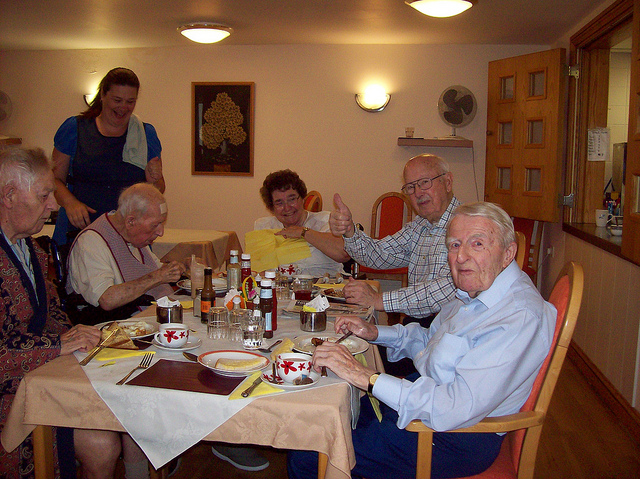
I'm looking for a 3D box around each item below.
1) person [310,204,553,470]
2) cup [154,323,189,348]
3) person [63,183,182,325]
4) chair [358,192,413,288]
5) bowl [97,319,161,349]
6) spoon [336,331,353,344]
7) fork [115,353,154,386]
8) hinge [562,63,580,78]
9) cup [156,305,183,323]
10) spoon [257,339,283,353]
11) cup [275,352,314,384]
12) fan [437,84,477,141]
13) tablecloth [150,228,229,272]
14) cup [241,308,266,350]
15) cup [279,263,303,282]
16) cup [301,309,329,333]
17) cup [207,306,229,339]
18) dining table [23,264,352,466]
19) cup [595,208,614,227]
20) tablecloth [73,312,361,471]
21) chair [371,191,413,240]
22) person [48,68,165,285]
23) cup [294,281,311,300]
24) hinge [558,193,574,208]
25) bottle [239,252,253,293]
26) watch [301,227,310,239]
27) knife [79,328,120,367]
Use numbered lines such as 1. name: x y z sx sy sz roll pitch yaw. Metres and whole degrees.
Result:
1. person: 0.477 0.298 2.258 0.971 1.373 0.857 6 17 17
2. cup: -0.584 0.359 1.916 0.097 0.079 0.083 -1 5 -11
3. person: -1.078 0.075 2.596 0.400 0.873 0.467 2 22 3
4. chair: 0.709 -0.019 5.143 0.497 0.920 0.865 0 8 11
5. bowl: -0.772 0.382 2.002 0.149 0.035 0.132 -2 8 -29
6. spoon: 0.102 0.400 2.046 0.019 0.016 0.117 30 36 23
7. fork: -0.651 0.458 1.727 0.027 0.025 0.169 -7 25 21
8. hinge: 2.362 -1.595 4.651 0.148 0.143 0.050 0 7 8
9. cup: -0.661 0.317 2.131 0.075 0.071 0.079 2 3 0
10. spoon: -0.193 0.412 1.994 0.032 0.022 0.149 9 9 15
11. cup: -0.083 0.435 1.711 0.143 0.088 0.112 -4 8 -17
12. fan: 1.547 -1.427 5.600 0.416 0.639 0.366 9 13 18
13. tablecloth: -1.202 0.079 4.670 0.651 0.305 0.761 -3 8 -9
14. cup: -0.276 0.362 2.032 0.089 0.142 0.147 2 9 -13
15. cup: -0.192 0.199 3.042 0.088 0.112 0.098 -1 4 -10
16. cup: -0.026 0.352 2.187 0.085 0.076 0.093 0 -1 0
17. cup: -0.425 0.358 2.120 0.083 0.149 0.143 5 5 10
18. dining table: -0.417 0.464 1.796 0.712 0.276 1.022 4 18 6
19. cup: 2.530 -0.184 4.441 0.158 0.170 0.115 -1 4 9
20. tablecloth: -0.494 0.540 1.686 0.537 0.157 0.590 4 20 11
21. chair: 0.780 -0.275 5.340 0.382 0.751 0.503 2 8 12
22. person: -1.425 -0.121 3.316 0.644 1.944 0.670 -2 17 -38
23. cup: -0.089 0.257 2.549 0.073 0.097 0.079 0 4 0
24. hinge: 2.398 -0.384 4.804 0.116 0.141 0.017 9 14 42
25. bottle: -0.372 0.161 2.516 0.067 0.073 0.261 -11 45 5
26. watch: -0.099 -0.050 3.037 0.037 0.073 0.064 18 14 36
27. knife: -0.836 0.407 1.869 0.027 0.016 0.155 2 26 14
